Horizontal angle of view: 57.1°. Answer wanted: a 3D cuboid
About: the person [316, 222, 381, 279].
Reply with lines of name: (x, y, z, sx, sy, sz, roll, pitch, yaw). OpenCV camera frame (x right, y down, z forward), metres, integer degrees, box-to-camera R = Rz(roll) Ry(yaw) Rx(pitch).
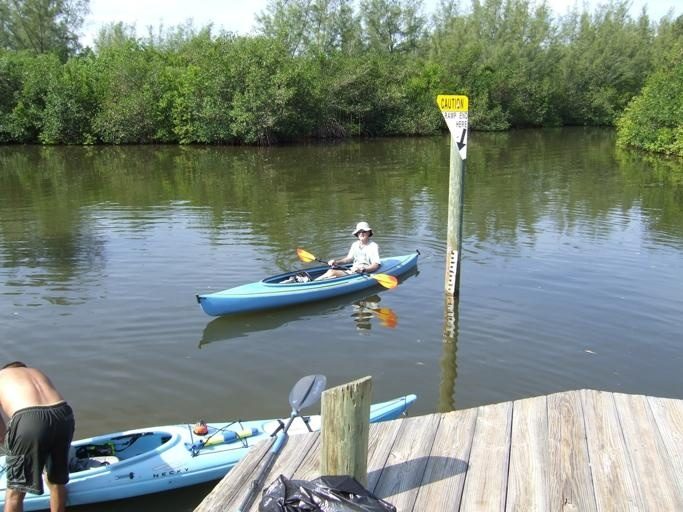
person: (0.266, -0.188, 11.932, 1.377, 0.931, 0.723, -11, 20, -31)

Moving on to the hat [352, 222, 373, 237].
hat: (0.384, -0.582, 11.873, 0.283, 0.222, 0.397, -4, -13, 5)

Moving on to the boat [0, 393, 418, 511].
boat: (-1.390, 2.013, 6.278, 3.450, 0.544, 0.599, -13, 36, -14)
